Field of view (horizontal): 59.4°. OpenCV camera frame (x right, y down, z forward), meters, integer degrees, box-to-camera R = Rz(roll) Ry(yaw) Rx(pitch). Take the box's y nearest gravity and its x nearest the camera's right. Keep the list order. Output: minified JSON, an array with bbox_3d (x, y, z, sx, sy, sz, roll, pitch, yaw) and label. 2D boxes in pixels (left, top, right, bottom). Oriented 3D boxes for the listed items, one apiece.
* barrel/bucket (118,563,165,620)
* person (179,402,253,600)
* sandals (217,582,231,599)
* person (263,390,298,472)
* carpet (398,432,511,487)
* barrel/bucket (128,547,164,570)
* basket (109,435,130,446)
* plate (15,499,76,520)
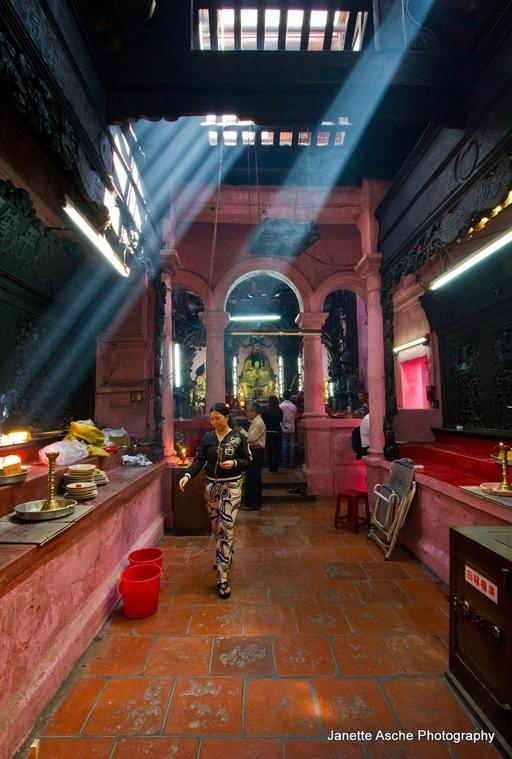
[{"bbox_3d":[-0.939,1.733,3.665,0.343,0.282,0.353,0,-8,0],"label":"barrel/bucket"},{"bbox_3d":[-0.393,1.085,4.231,0.533,1.704,0.432,-1,-2,30],"label":"person"},{"bbox_3d":[-0.295,1.862,3.942,0.082,0.066,0.163,2,4,4],"label":"sandals"},{"bbox_3d":[0.478,1.108,9.468,0.552,1.668,1.421,-1,-2,14],"label":"person"},{"bbox_3d":[2.273,0.878,5.254,0.948,0.391,2.543,-1,-2,9],"label":"carpet"},{"bbox_3d":[-0.983,1.650,4.075,0.247,0.182,0.249,0,-2,0],"label":"barrel/bucket"},{"bbox_3d":[-1.735,0.816,5.822,0.093,0.142,0.334,-1,-2,28],"label":"basket"},{"bbox_3d":[-1.337,0.825,2.887,0.347,0.095,0.424,0,-2,-27],"label":"plate"}]
